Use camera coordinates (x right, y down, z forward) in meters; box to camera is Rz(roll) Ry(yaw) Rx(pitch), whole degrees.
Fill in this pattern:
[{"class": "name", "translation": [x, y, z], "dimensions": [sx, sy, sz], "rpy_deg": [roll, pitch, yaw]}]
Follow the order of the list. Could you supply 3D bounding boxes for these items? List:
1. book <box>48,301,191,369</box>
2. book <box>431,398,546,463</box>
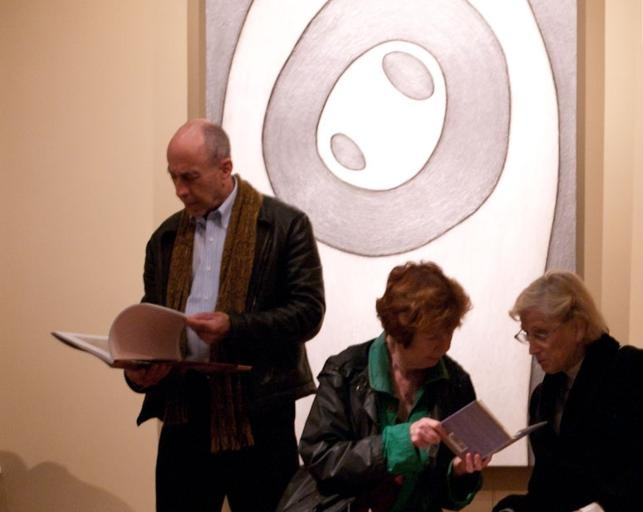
[{"class": "book", "translation": [-0.645, 0.276, 2.081], "dimensions": [0.259, 0.177, 0.330], "rpy_deg": [8, -6, 29]}, {"class": "book", "translation": [0.517, 0.542, 1.880], "dimensions": [0.286, 0.148, 0.217], "rpy_deg": [15, -32, -33]}]
